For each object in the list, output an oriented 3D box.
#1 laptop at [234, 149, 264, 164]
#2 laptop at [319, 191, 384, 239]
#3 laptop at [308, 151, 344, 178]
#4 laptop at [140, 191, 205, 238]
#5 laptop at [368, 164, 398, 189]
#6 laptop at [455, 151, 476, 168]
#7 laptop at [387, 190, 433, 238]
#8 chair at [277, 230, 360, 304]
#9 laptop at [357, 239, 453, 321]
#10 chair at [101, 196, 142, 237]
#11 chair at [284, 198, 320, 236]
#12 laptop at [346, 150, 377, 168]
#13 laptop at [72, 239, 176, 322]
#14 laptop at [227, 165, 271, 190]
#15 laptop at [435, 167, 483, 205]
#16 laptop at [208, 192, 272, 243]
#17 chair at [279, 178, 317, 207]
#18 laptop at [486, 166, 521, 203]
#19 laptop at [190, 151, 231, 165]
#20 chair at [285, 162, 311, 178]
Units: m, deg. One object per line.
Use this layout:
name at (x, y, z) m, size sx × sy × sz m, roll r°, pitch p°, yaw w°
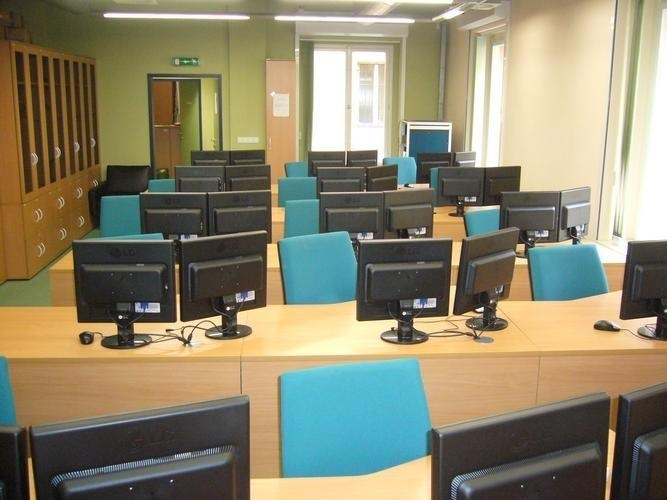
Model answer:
laptop at (-1.306, -1.414, 8.396) m, size 0.522 × 0.215 × 0.334 m, roll -6°, pitch 9°, yaw -12°
laptop at (0.147, -0.295, 4.601) m, size 0.392 × 0.347 × 0.128 m, roll 0°, pitch 9°, yaw -7°
laptop at (-0.090, -1.188, 7.603) m, size 0.600 × 0.512 × 0.202 m, roll 0°, pitch 0°, yaw -3°
laptop at (-1.304, -0.285, 4.424) m, size 0.384 × 0.332 × 0.127 m, roll 0°, pitch 2°, yaw -5°
laptop at (0.599, -0.876, 6.666) m, size 0.330 × 0.318 × 0.169 m, roll -3°, pitch 8°, yaw -34°
laptop at (1.954, -1.326, 8.070) m, size 0.159 × 0.209 × 0.412 m, roll 6°, pitch 13°, yaw 45°
laptop at (0.655, -0.312, 4.812) m, size 0.377 × 0.361 × 0.197 m, roll -4°, pitch 13°, yaw -19°
chair at (-0.111, 0.113, 4.308) m, size 0.479 × 0.703 × 0.575 m, roll -3°, pitch 5°, yaw -17°
laptop at (0.387, 0.159, 3.081) m, size 0.428 × 0.380 × 0.141 m, roll -1°, pitch 13°, yaw -6°
chair at (-2.111, -0.338, 5.401) m, size 0.374 × 0.377 × 0.208 m, roll -8°, pitch 10°, yaw -24°
chair at (-0.342, -0.354, 5.706) m, size 0.346 × 0.505 × 0.395 m, roll -1°, pitch 12°, yaw -10°
laptop at (0.400, -1.330, 8.382) m, size 0.508 × 0.298 × 0.357 m, roll -2°, pitch 1°, yaw -20°
laptop at (-1.137, 0.157, 2.961) m, size 0.410 × 0.366 × 0.136 m, roll 1°, pitch 12°, yaw -3°
laptop at (-0.975, -0.873, 6.589) m, size 0.483 × 0.288 × 0.591 m, roll 3°, pitch 11°, yaw 37°
laptop at (1.465, -0.731, 6.347) m, size 0.406 × 0.362 × 0.134 m, roll 0°, pitch 8°, yaw -1°
laptop at (-0.759, -0.264, 4.326) m, size 0.435 × 0.420 × 0.223 m, roll -2°, pitch 7°, yaw -14°
chair at (-0.467, -0.821, 7.461) m, size 0.427 × 0.606 × 0.474 m, roll 0°, pitch 13°, yaw -4°
laptop at (1.876, -0.728, 6.074) m, size 0.548 × 0.484 × 0.179 m, roll -1°, pitch 5°, yaw -5°
laptop at (-1.818, -1.294, 8.071) m, size 0.470 × 0.256 × 0.476 m, roll 0°, pitch 3°, yaw -8°
chair at (-0.576, -1.268, 8.730) m, size 0.351 × 0.425 × 0.355 m, roll 1°, pitch 13°, yaw 11°
